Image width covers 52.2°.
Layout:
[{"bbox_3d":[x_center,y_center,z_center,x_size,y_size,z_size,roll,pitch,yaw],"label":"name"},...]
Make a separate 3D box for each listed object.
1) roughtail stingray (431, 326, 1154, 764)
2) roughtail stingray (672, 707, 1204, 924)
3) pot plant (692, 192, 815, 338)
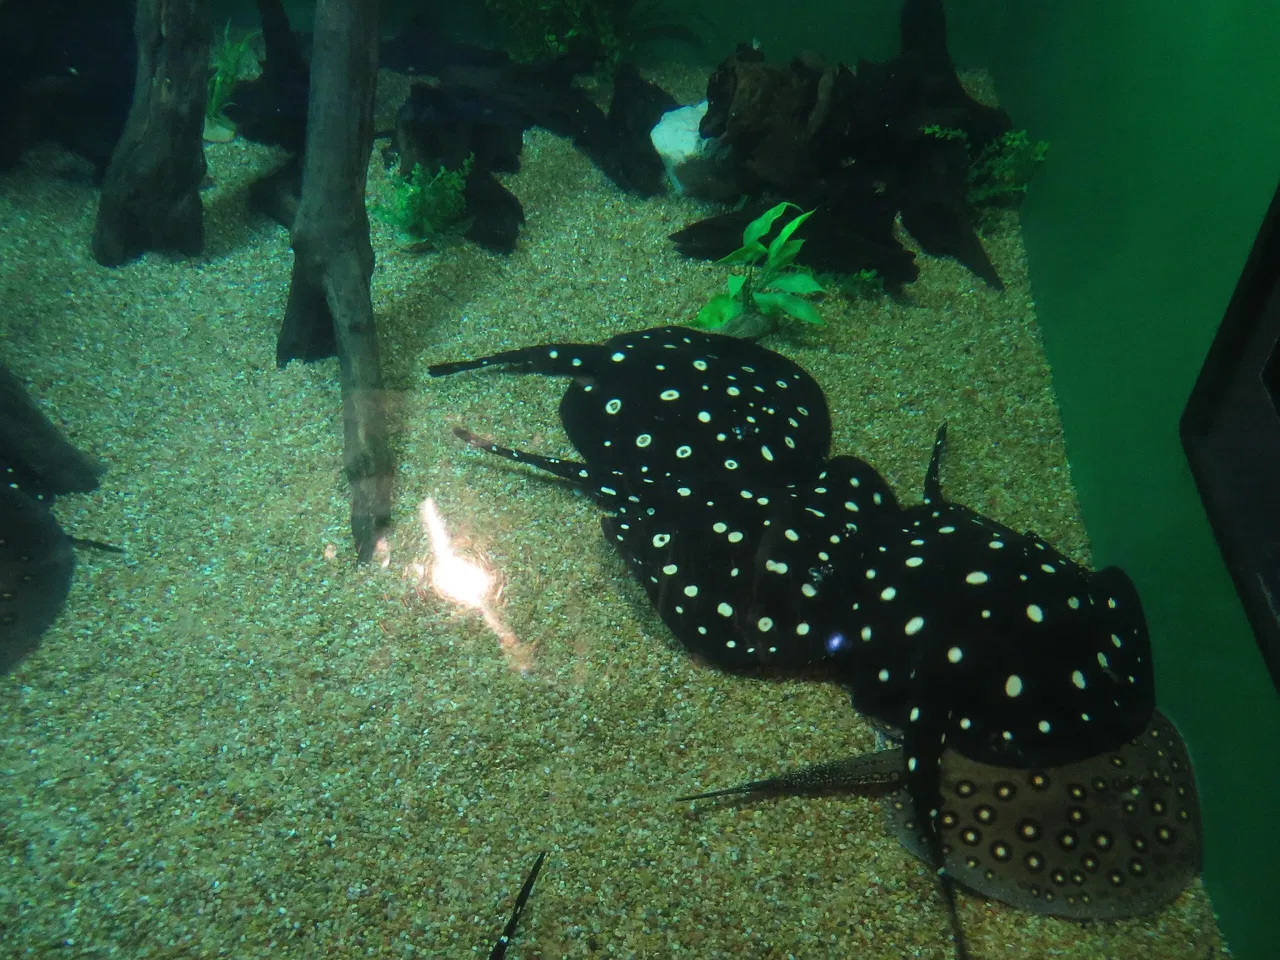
[{"bbox_3d":[0.930,0.355,6.311,1.762,0.345,3.262,-42,64,-17],"label":"roughtail stingray"},{"bbox_3d":[1.943,1.553,5.856,1.184,0.459,0.647,-6,44,-5],"label":"roughtail stingray"},{"bbox_3d":[0.738,-1.284,7.745,0.713,0.419,1.041,7,46,8],"label":"pot plant"}]
